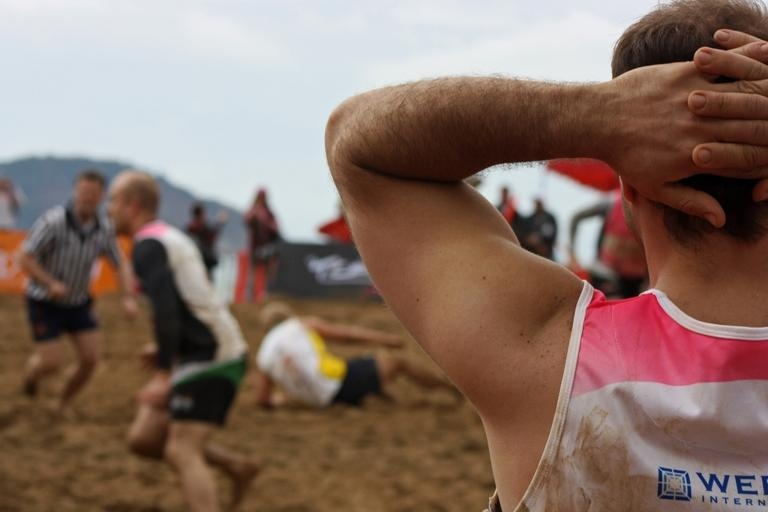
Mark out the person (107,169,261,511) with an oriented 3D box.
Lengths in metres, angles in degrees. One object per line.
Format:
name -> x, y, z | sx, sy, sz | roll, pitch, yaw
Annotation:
person -> -1.341, 0.619, 7.757 | 0.852, 2.152, 0.794 | 3, 15, 21
